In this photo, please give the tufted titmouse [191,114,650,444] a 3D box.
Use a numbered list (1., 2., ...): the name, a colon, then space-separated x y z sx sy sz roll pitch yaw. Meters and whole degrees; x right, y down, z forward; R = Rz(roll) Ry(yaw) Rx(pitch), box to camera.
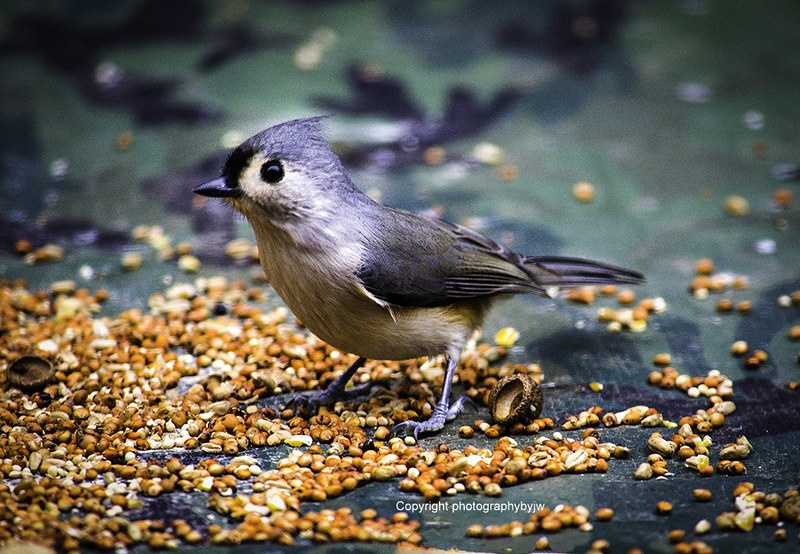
1. tufted titmouse: 0.227 -0.036 4.690 3.053 1.035 1.565 0 102 -28
